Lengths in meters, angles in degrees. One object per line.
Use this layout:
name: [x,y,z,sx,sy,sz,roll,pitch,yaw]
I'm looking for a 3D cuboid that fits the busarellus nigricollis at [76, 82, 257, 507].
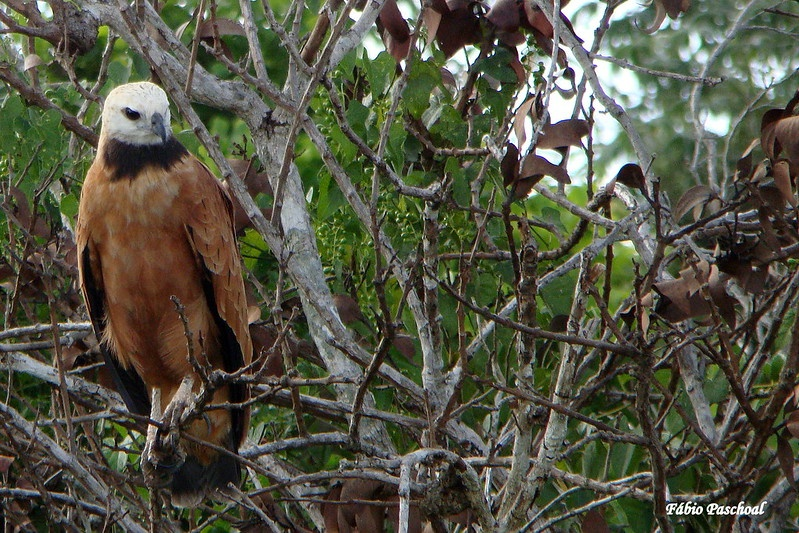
busarellus nigricollis: [-1.492,-0.007,9.236,1.057,2.093,0.768,-2,26,-7]
